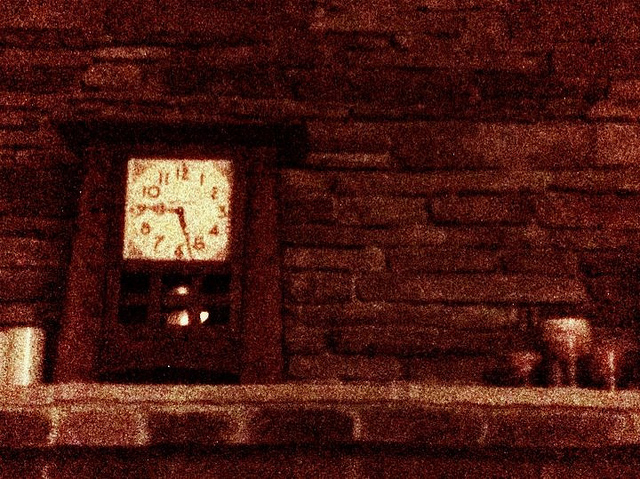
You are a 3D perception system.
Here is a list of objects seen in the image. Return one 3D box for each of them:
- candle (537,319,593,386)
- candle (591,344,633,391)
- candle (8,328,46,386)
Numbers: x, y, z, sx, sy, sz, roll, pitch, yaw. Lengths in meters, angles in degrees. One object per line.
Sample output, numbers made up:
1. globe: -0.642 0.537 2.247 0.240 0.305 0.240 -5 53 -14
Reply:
1. candle: 1.136 0.538 7.437 0.318 0.445 0.289 -1 -12 7
2. candle: 1.351 0.601 7.342 0.216 0.188 0.049 0 -6 -13
3. candle: -1.342 0.539 7.384 0.166 0.259 0.065 1 -7 -10
